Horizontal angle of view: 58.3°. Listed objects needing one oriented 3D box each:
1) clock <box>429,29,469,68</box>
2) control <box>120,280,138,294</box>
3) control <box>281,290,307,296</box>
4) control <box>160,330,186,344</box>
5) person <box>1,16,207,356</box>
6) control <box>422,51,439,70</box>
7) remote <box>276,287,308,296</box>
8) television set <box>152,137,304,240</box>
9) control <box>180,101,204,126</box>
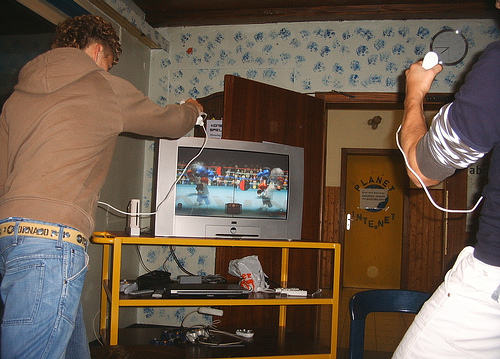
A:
[{"bbox_3d":[1.826,-1.200,4.111,0.328,0.334,0.066,35,47,17],"label":"clock"},{"bbox_3d":[-0.791,0.696,2.895,0.110,0.053,0.145,4,-1,-11],"label":"control"},{"bbox_3d":[0.294,0.768,3.040,0.171,0.035,0.044,2,-1,-5],"label":"control"},{"bbox_3d":[-0.522,1.057,3.030,0.091,0.038,0.092,4,-4,5],"label":"control"},{"bbox_3d":[-0.744,0.076,2.003,0.674,1.269,0.285,3,-1,-29],"label":"person"},{"bbox_3d":[0.720,-0.466,1.782,0.066,0.077,0.059,2,-1,16],"label":"control"},{"bbox_3d":[0.285,0.767,3.072,0.179,0.029,0.166,3,-2,-32],"label":"remote"},{"bbox_3d":[-0.169,0.099,3.319,1.134,0.794,0.663,2,-5,-8],"label":"television set"},{"bbox_3d":[-0.362,-0.378,2.656,0.120,0.111,0.200,0,-7,-1],"label":"control"}]
